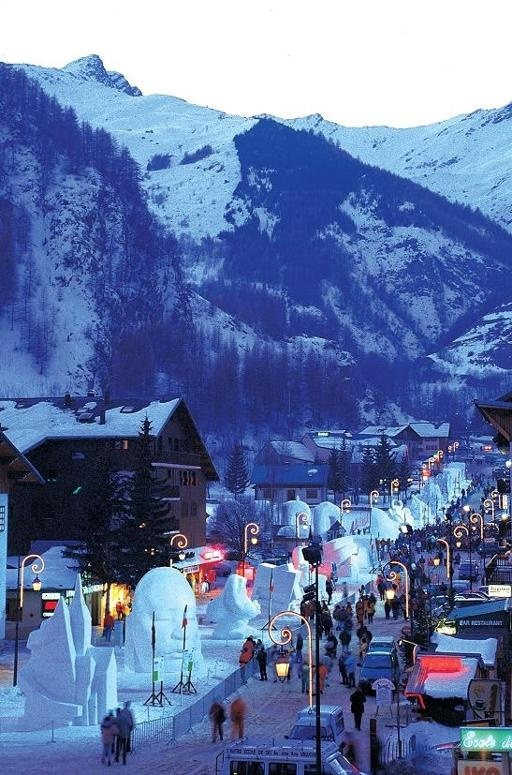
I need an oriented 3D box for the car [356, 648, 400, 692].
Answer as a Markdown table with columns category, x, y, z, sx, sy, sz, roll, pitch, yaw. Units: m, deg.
| category | x | y | z | sx | sy | sz | roll | pitch | yaw |
| --- | --- | --- | --- | --- | --- | --- | --- | --- | --- |
| car | 3.240 | 7.608 | 35.514 | 1.042 | 1.057 | 1.633 | 0 | -7 | 6 |
